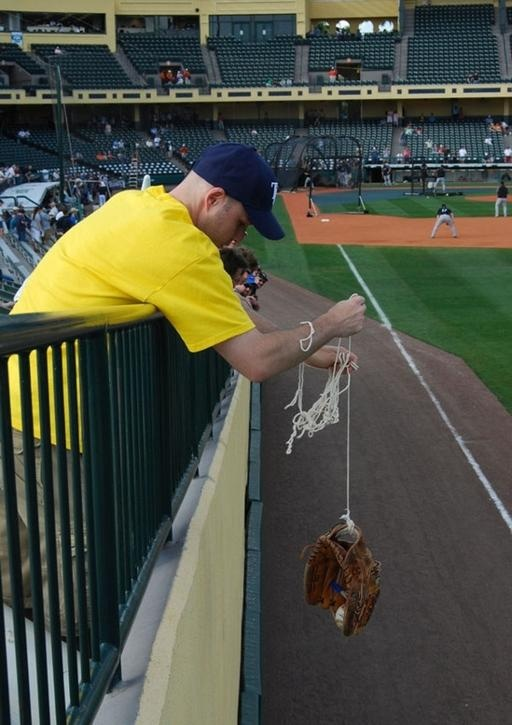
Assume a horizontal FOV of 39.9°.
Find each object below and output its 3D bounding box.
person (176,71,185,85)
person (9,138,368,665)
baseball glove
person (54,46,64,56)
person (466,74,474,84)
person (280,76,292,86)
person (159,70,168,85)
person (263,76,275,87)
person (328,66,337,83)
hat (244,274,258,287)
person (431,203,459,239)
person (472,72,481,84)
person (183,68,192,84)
[{"bbox_3d":[-5.049,-19.038,46.983,0.596,1.009,2.112,-6,18,-4],"label":"person"},{"bbox_3d":[-0.237,-0.305,2.231,0.570,0.729,1.066,10,23,38],"label":"person"},{"bbox_3d":[0.329,0.777,2.560,0.186,0.359,0.281,-4,16,-32],"label":"baseball glove"},{"bbox_3d":[-13.237,-21.060,47.377,0.647,0.888,0.290,-2,-15,-26],"label":"person"},{"bbox_3d":[13.835,-18.428,45.569,0.481,0.566,0.897,1,19,16],"label":"person"},{"bbox_3d":[1.989,-18.803,46.969,0.771,0.615,1.822,-3,18,3],"label":"person"},{"bbox_3d":[-6.214,-19.425,47.577,0.562,1.086,1.747,-7,18,-6],"label":"person"},{"bbox_3d":[0.829,-18.733,46.897,0.629,0.557,1.623,-4,18,2],"label":"person"},{"bbox_3d":[5.050,-18.917,46.279,0.608,0.851,0.994,-2,18,6],"label":"person"},{"bbox_3d":[-0.038,-0.682,5.846,0.084,0.044,0.115,3,22,2],"label":"hat"},{"bbox_3d":[5.795,-4.444,21.727,0.782,0.989,2.549,1,19,15],"label":"person"},{"bbox_3d":[14.262,-18.583,45.877,0.651,0.644,1.736,2,19,18],"label":"person"},{"bbox_3d":[-4.619,-19.241,47.149,0.479,0.821,0.788,-5,18,-1],"label":"person"}]
